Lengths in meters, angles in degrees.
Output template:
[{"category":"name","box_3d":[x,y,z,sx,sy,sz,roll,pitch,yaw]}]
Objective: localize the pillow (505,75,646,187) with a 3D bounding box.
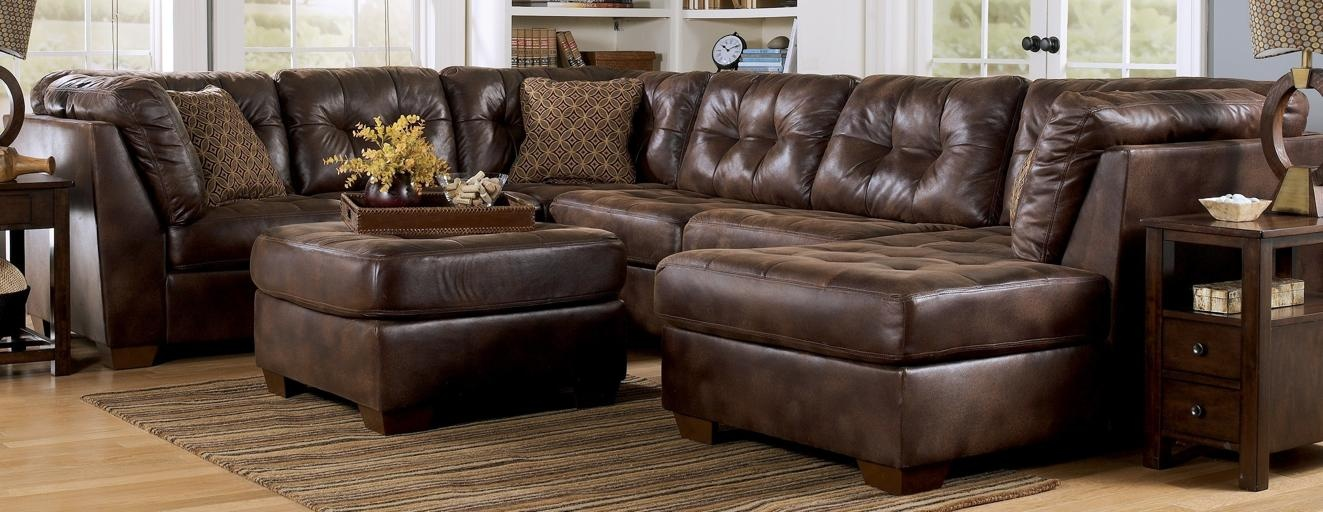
[{"category":"pillow","box_3d":[-0.619,-0.914,7.125,1.330,0.690,0.509,2,15,1]}]

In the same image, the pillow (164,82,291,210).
[{"category":"pillow","box_3d":[-2.944,-0.749,6.404,0.309,0.809,0.939,-35,1,19]}]

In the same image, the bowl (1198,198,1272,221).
[{"category":"bowl","box_3d":[3.039,-0.251,4.985,0.226,0.056,0.222,1,1,0]}]

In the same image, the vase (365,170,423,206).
[{"category":"vase","box_3d":[-1.600,-0.402,5.654,0.254,0.136,0.283,-10,16,-42]}]

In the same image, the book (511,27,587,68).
[{"category":"book","box_3d":[-1.026,-1.918,8.651,0.693,0.347,0.314,-3,15,-9]}]

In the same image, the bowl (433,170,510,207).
[{"category":"bowl","box_3d":[-1.120,-0.396,5.677,0.367,0.104,0.287,-1,2,0]}]
